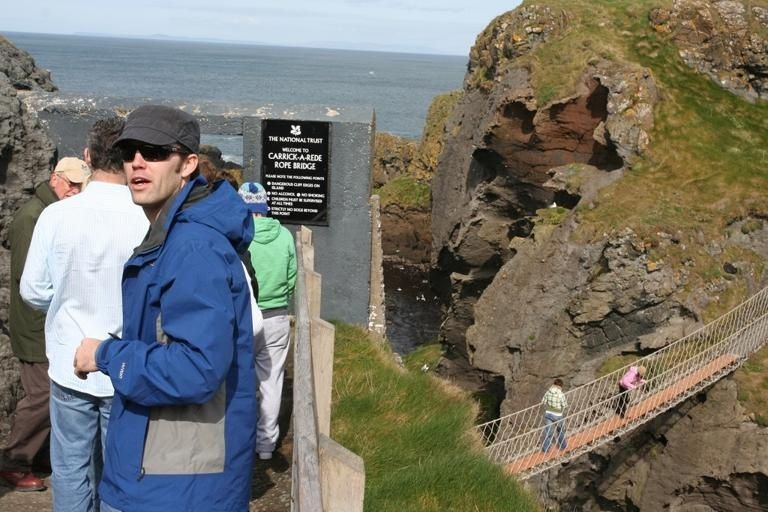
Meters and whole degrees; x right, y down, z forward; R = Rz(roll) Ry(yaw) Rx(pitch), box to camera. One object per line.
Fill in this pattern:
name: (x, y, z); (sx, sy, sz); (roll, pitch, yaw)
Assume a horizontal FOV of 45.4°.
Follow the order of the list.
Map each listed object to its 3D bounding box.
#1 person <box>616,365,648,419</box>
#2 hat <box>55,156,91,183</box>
person: (6.004, 3.277, 22.493); (0.676, 1.338, 0.546); (-21, 38, -37)
hat: (-5.166, -1.418, 15.384); (0.584, 0.315, 0.429); (19, 5, 32)
